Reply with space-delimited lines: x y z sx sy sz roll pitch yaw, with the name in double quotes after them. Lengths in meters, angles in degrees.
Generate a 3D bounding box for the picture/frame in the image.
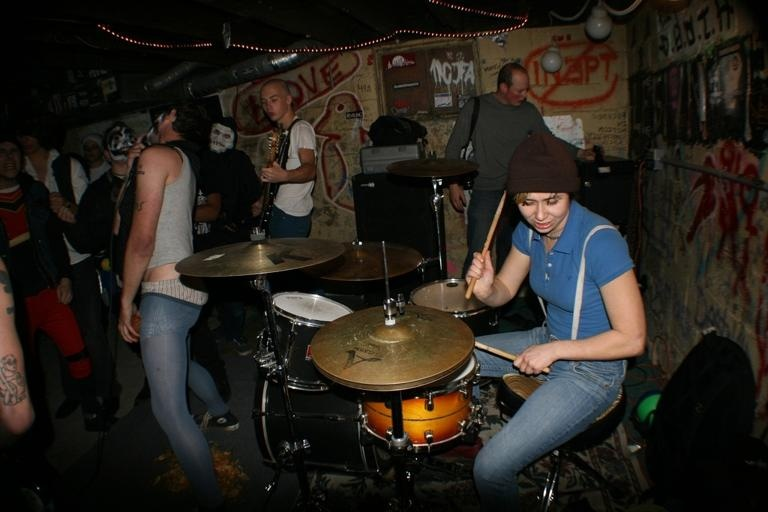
0.560 -2.207 6.649 1.294 0.923 0.106 -2 9 12 "picture/frame"

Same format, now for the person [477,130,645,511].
1.049 0.358 3.555 1.032 2.260 0.968 -5 16 -5 "person"

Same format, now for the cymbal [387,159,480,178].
0.462 -0.835 5.233 0.846 0.156 0.515 5 18 27 "cymbal"

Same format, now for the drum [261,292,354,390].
-0.638 0.592 3.920 0.625 0.473 0.676 16 14 -4 "drum"

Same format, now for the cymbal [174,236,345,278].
-0.838 0.023 3.670 1.113 0.205 0.530 -5 16 -7 "cymbal"

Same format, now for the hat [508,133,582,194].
1.043 -0.599 3.530 0.515 0.392 0.396 11 25 32 "hat"

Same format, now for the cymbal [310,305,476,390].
0.047 0.633 3.433 1.012 0.455 0.628 -3 16 2 "cymbal"

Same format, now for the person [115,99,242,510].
-1.554 0.450 3.963 0.690 2.932 1.111 -8 17 -15 "person"

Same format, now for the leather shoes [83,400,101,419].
-2.675 1.395 4.976 0.156 0.140 0.150 -4 11 -27 "leather shoes"

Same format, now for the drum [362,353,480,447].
0.252 1.058 3.693 0.665 0.263 0.646 -13 5 1 "drum"

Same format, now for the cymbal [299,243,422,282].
-0.147 0.069 4.640 0.537 0.070 0.534 -13 25 -31 "cymbal"

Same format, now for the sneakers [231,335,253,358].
-1.551 0.977 5.871 0.204 0.167 0.249 -20 19 -27 "sneakers"
